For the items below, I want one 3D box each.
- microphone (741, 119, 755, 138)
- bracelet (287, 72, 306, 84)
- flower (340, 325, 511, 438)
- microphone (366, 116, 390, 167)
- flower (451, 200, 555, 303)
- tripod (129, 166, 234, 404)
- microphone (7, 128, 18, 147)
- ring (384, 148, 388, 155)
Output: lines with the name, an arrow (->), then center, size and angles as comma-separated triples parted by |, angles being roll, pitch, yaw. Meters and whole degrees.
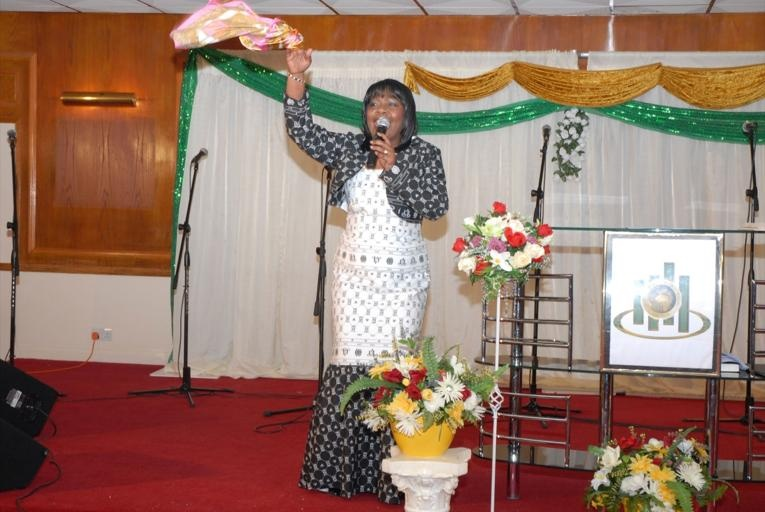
microphone -> 3.648, -1.273, 7.151 | 0.101, 0.162, 0.307 | 5, 10, 27
bracelet -> -0.630, -1.342, 5.386 | 0.087, 0.069, 0.190 | 5, 10, 23
flower -> 0.244, 1.039, 5.186 | 0.941, 0.768, 1.210 | 6, 2, -3
microphone -> -0.032, -0.885, 5.304 | 0.110, 0.439, 0.119 | 4, -19, 28
flower -> 0.823, -0.033, 4.974 | 0.660, 0.668, 0.305 | 2, 9, 6
tripod -> -2.122, 0.236, 7.951 | 1.021, 2.501, 1.643 | 1, 9, 0
microphone -> -4.088, -1.318, 7.925 | 0.063, 0.173, 0.227 | -3, 10, -22
ring -> 0.024, -0.753, 5.102 | 0.030, 0.044, 0.010 | 2, 2, 1
